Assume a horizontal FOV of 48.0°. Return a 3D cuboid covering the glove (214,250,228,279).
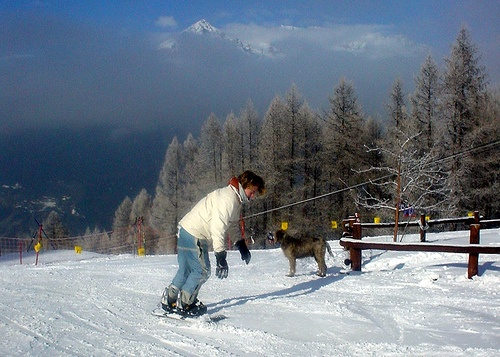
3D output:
[{"bbox_3d":[-0.803,2.478,15.895,0.213,0.750,0.486,-1,0,-4],"label":"glove"}]
